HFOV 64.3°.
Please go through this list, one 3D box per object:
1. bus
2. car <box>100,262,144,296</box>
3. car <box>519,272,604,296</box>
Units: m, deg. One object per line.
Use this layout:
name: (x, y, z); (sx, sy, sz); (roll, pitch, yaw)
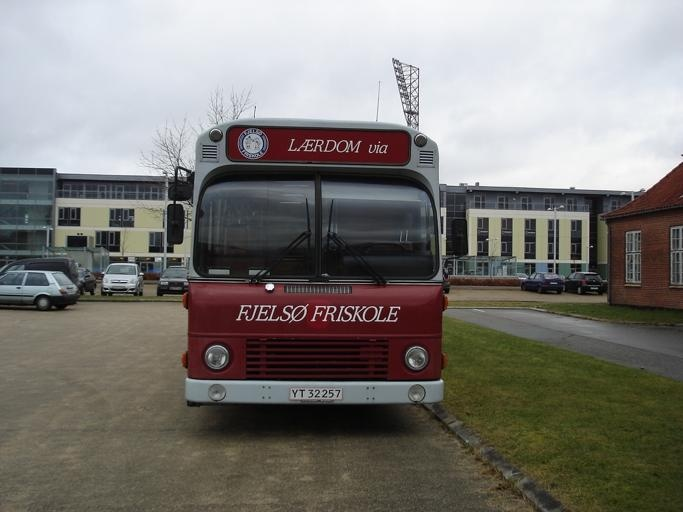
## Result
bus: (-0.304, 0.061, 9.348); (3.630, 3.506, 6.098); (0, 2, -1)
car: (-13.047, 1.421, 33.021); (1.607, 1.392, 2.846); (0, -7, -7)
car: (18.277, 2.210, 44.630); (6.083, 1.732, 2.936); (0, 0, 26)
